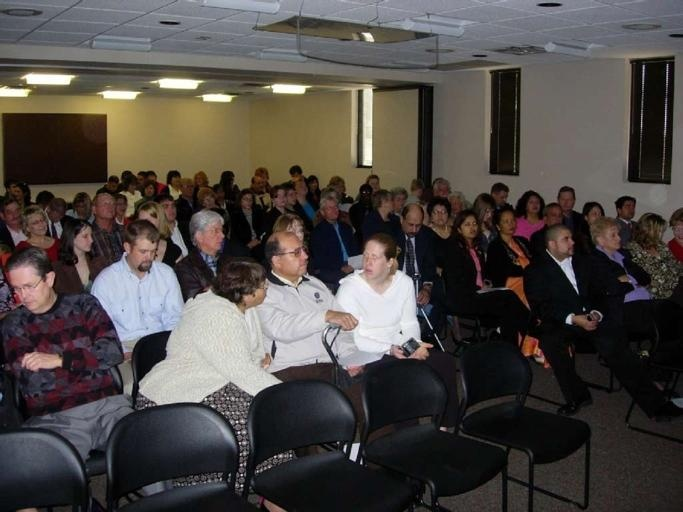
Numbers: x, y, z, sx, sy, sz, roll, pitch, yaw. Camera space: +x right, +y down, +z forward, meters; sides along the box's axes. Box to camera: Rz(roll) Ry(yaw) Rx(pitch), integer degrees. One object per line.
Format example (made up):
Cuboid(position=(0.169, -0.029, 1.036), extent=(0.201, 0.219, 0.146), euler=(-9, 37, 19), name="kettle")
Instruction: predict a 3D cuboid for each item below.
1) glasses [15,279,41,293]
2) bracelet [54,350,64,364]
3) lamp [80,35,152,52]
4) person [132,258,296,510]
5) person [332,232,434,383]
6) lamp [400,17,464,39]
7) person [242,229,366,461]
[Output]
Cuboid(position=(-1.667, 0.162, 2.858), extent=(0.075, 0.024, 0.080), euler=(-6, 12, -5), name="glasses")
Cuboid(position=(-1.518, 0.538, 2.898), extent=(0.053, 0.051, 0.055), euler=(3, -4, -18), name="bracelet")
Cuboid(position=(-2.933, -2.814, 7.115), extent=(0.777, 0.128, 0.546), euler=(-4, 12, -19), name="lamp")
Cuboid(position=(-0.658, 0.591, 2.852), extent=(0.711, 1.116, 0.507), euler=(7, 13, 30), name="person")
Cuboid(position=(0.300, 0.342, 3.721), extent=(0.609, 0.935, 0.756), euler=(-2, 14, -9), name="person")
Cuboid(position=(1.095, -2.579, 6.098), extent=(0.858, 0.151, 0.290), euler=(-7, 13, -30), name="lamp")
Cuboid(position=(-0.141, 0.549, 3.406), extent=(0.576, 1.423, 0.749), euler=(-12, 3, -27), name="person")
